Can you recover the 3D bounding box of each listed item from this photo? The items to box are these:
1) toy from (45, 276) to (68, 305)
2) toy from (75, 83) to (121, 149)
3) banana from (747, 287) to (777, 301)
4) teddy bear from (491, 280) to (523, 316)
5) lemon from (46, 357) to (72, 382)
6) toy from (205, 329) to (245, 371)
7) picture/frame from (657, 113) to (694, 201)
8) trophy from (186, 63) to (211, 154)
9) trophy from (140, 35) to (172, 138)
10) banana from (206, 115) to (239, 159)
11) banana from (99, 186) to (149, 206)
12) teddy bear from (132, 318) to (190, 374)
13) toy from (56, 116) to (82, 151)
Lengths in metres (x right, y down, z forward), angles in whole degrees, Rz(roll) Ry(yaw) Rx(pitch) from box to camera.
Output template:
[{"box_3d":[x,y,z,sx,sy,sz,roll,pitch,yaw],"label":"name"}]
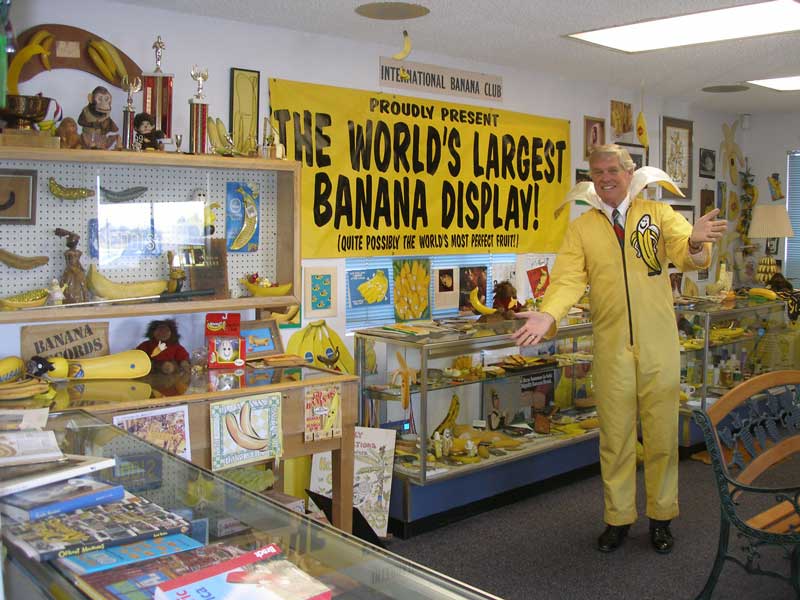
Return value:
[{"box_3d":[-1.635,-0.041,2.978,0.109,0.142,0.077,3,11,14],"label":"toy"},{"box_3d":[-1.561,-0.914,3.231,0.173,0.439,0.234,8,7,27],"label":"toy"},{"box_3d":[3.467,-0.065,6.034,0.241,0.083,0.115,13,10,28],"label":"banana"},{"box_3d":[0.767,-0.016,4.804,0.258,0.292,0.214,0,0,-35],"label":"teddy bear"},{"box_3d":[-1.655,0.336,3.037,0.099,0.110,0.084,-4,11,-22],"label":"lemon"},{"box_3d":[-0.907,0.258,3.278,0.273,0.208,0.148,-1,-1,-25],"label":"toy"},{"box_3d":[2.993,-1.553,6.793,0.541,0.839,0.028,-6,8,-42],"label":"picture/frame"},{"box_3d":[-1.079,-0.984,3.359,0.118,0.442,0.326,7,1,-19],"label":"trophy"},{"box_3d":[-1.257,-1.028,3.227,0.080,0.600,0.144,8,11,40],"label":"trophy"},{"box_3d":[-0.951,-0.854,3.343,0.080,0.236,0.137,4,14,37],"label":"banana"},{"box_3d":[-1.397,-0.525,3.195,0.207,0.087,0.068,0,-8,-29],"label":"banana"},{"box_3d":[-1.277,0.262,3.527,0.365,0.446,0.245,0,-31,-17],"label":"teddy bear"},{"box_3d":[-1.573,-0.787,2.977,0.121,0.144,0.087,8,2,45],"label":"toy"}]
